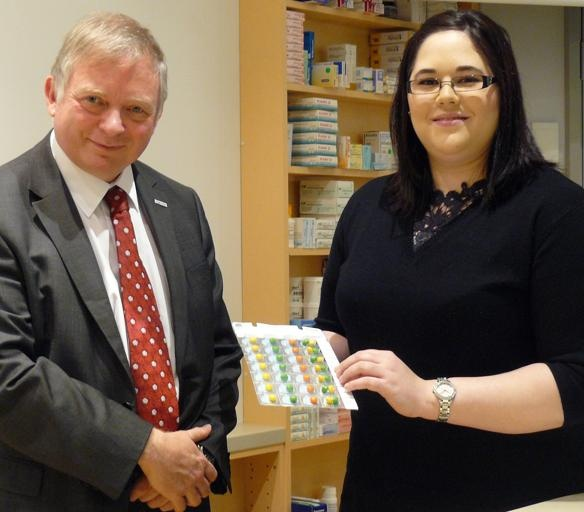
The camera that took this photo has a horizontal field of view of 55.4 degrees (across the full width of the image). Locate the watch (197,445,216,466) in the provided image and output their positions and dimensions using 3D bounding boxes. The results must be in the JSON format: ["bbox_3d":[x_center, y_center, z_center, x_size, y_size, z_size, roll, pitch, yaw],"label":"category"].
[{"bbox_3d":[-0.230,0.536,1.498,0.022,0.063,0.044,-43,22,-2],"label":"watch"}]

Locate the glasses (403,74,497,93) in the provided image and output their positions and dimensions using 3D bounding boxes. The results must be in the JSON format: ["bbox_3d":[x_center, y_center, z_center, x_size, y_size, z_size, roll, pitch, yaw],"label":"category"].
[{"bbox_3d":[0.397,-0.430,1.399,0.210,0.045,0.069,2,14,21],"label":"glasses"}]

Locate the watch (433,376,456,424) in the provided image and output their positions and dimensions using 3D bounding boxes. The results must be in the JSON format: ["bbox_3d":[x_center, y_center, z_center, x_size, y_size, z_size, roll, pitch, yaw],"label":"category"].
[{"bbox_3d":[0.338,0.327,1.251,0.051,0.078,0.086,1,51,11],"label":"watch"}]

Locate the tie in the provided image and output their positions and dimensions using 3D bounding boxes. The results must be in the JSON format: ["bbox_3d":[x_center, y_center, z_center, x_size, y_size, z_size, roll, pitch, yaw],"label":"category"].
[{"bbox_3d":[-0.435,0.145,1.538,0.135,0.698,0.098,-13,-5,-28],"label":"tie"}]
